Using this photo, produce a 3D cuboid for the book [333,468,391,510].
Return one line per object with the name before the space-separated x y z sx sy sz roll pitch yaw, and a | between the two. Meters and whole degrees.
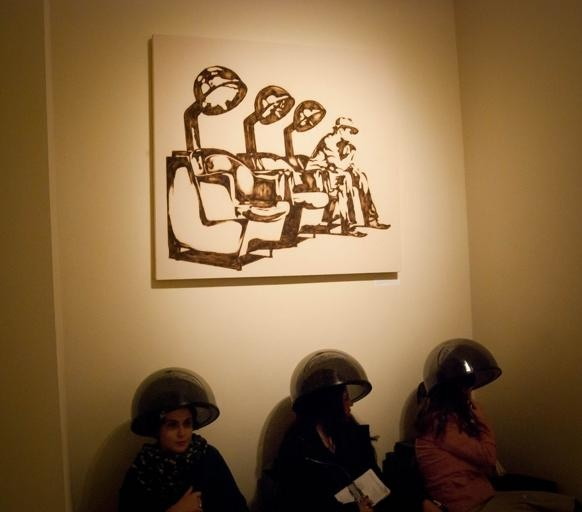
book | 0.310 1.022 2.261 0.235 0.094 0.120 -6 6 -38
